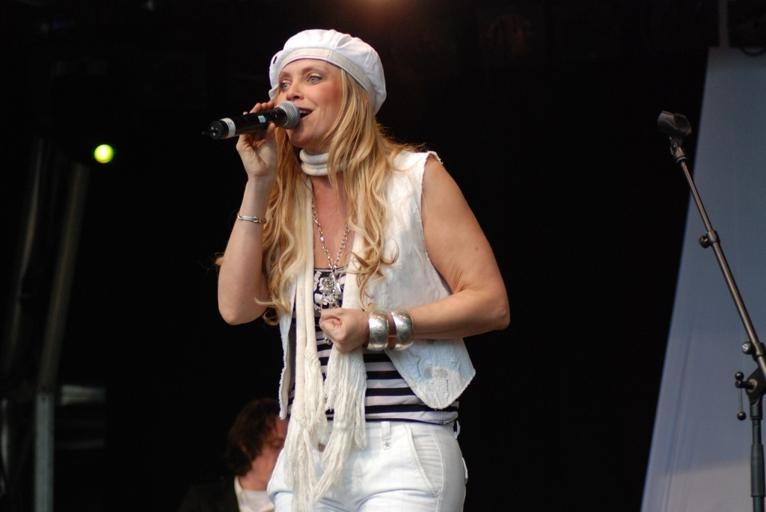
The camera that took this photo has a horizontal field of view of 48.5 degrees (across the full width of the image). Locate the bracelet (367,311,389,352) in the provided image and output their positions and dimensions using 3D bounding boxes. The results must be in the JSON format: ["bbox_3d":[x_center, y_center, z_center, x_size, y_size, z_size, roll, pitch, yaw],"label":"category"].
[{"bbox_3d":[-0.016,0.235,2.601,0.081,0.106,0.087,3,-1,-4],"label":"bracelet"}]

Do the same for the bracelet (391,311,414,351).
[{"bbox_3d":[0.058,0.226,2.622,0.071,0.109,0.031,0,-10,2],"label":"bracelet"}]
